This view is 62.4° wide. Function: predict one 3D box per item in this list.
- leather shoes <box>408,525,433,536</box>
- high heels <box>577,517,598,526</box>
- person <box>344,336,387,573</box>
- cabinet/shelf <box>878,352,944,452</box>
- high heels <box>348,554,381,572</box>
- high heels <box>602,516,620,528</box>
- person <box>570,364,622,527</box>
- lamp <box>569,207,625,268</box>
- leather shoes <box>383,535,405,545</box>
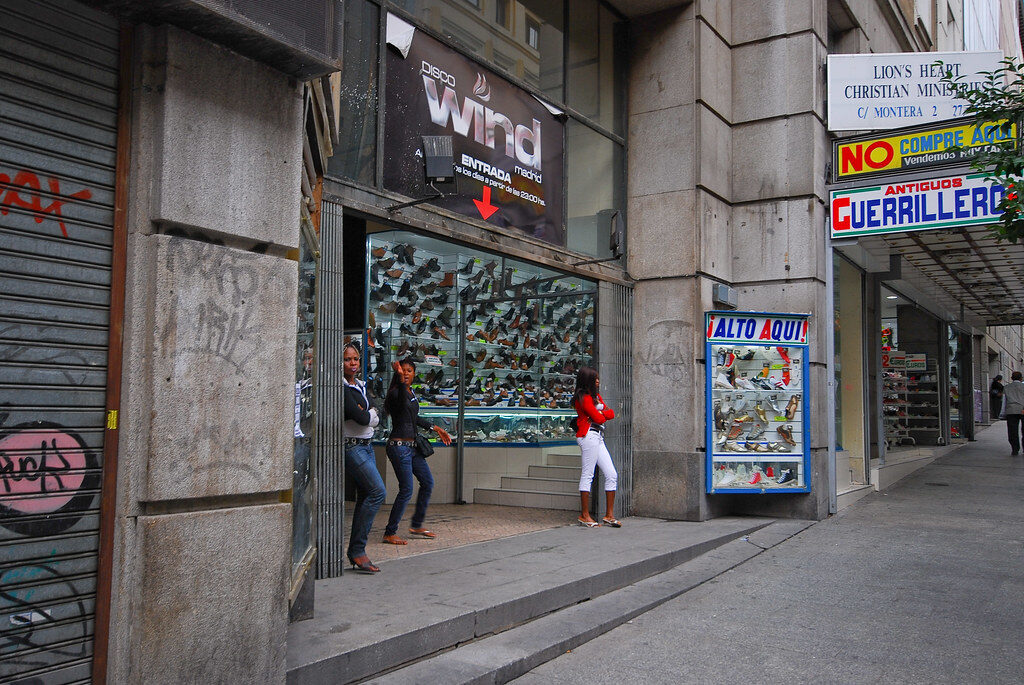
[{"bbox_3d":[-1.158,2.389,10.771,0.290,0.123,0.129,-1,-5,8],"label":"leather shoes"},{"bbox_3d":[1.024,2.462,11.690,0.213,0.089,0.119,-2,-5,11],"label":"high heels"},{"bbox_3d":[-1.578,1.184,9.017,0.395,2.420,0.718,-1,-6,-9],"label":"person"},{"bbox_3d":[10.620,1.491,22.535,2.530,2.626,0.982,0,-1,-41],"label":"cabinet/shelf"},{"bbox_3d":[-1.580,2.285,8.799,0.405,0.190,0.140,-4,-8,26],"label":"high heels"},{"bbox_3d":[1.389,2.497,11.851,0.091,0.111,0.263,4,-8,-43],"label":"high heels"},{"bbox_3d":[1.211,1.474,12.002,0.578,2.199,0.916,-4,-7,19],"label":"person"},{"bbox_3d":[1.315,-1.568,12.264,0.572,0.690,0.457,6,-9,-17],"label":"lamp"},{"bbox_3d":[-1.420,2.374,10.217,0.218,0.093,0.126,-3,-4,11],"label":"leather shoes"}]
